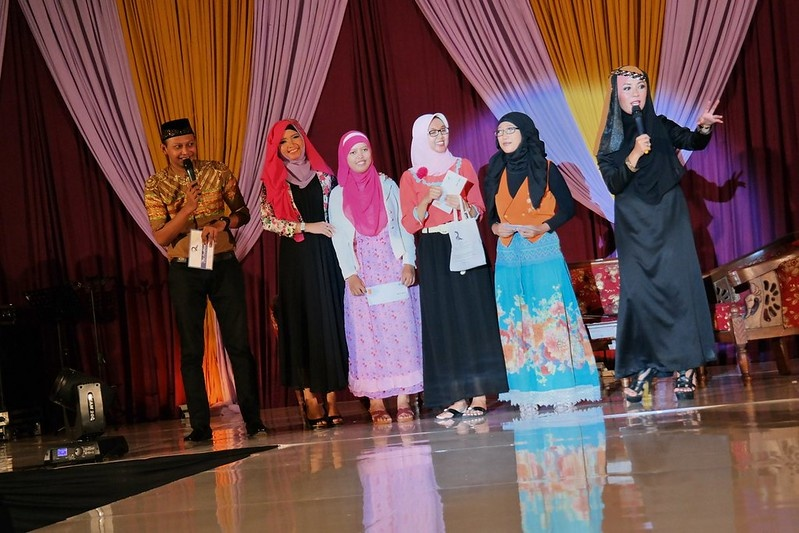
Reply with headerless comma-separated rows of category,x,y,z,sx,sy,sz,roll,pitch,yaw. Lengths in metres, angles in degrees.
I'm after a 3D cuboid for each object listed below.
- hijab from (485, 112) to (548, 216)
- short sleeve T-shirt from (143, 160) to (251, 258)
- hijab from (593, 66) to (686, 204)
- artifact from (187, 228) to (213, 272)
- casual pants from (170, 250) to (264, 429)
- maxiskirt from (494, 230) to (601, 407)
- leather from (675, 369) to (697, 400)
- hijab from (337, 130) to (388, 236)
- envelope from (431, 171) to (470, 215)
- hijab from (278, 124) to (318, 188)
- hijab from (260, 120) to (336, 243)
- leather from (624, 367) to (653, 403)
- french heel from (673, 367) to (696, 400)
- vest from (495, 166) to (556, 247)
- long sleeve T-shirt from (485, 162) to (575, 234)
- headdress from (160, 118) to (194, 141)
hijab,0.745,-0.623,3.958,0.374,0.746,0.212,-4,-10,30
short sleeve T-shirt,-1.441,-0.421,4.501,0.815,0.852,0.435,-5,-1,-28
hijab,1.444,-0.716,3.745,0.449,0.842,0.216,-5,0,8
artifact,-1.323,-0.101,4.115,0.168,0.256,0.062,1,-2,-15
casual pants,-1.323,0.532,4.419,0.510,1.413,0.335,-6,19,-14
maxiskirt,0.882,0.319,3.855,0.599,1.085,0.220,-7,-5,5
leather,1.667,0.687,3.566,0.077,0.106,0.217,-1,4,16
hijab,-0.241,-0.532,4.177,0.361,1.016,0.280,-5,-40,-8
envelope,0.318,-0.453,3.976,0.177,0.272,0.067,25,3,16
hijab,-0.690,-0.735,4.143,0.228,0.386,0.188,-5,4,-3
hijab,-0.771,-0.583,4.294,0.518,0.772,0.214,-13,9,-20
leather,1.417,0.719,3.636,0.097,0.112,0.281,-7,20,34
french heel,1.693,0.676,3.654,0.077,0.106,0.219,-2,5,16
vest,0.814,-0.372,3.877,0.424,0.621,0.306,-3,-5,39
long sleeve T-shirt,0.815,-0.437,3.926,0.571,0.542,0.311,-12,-4,28
headdress,-1.508,-0.930,4.218,0.206,0.122,0.202,-10,4,-39
